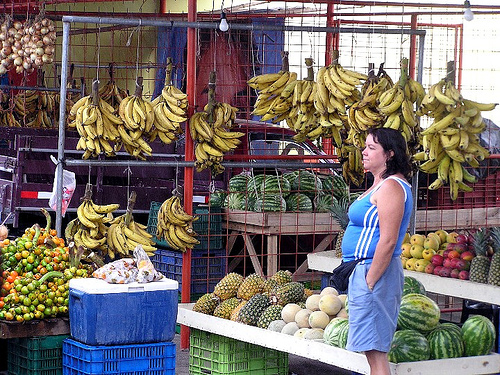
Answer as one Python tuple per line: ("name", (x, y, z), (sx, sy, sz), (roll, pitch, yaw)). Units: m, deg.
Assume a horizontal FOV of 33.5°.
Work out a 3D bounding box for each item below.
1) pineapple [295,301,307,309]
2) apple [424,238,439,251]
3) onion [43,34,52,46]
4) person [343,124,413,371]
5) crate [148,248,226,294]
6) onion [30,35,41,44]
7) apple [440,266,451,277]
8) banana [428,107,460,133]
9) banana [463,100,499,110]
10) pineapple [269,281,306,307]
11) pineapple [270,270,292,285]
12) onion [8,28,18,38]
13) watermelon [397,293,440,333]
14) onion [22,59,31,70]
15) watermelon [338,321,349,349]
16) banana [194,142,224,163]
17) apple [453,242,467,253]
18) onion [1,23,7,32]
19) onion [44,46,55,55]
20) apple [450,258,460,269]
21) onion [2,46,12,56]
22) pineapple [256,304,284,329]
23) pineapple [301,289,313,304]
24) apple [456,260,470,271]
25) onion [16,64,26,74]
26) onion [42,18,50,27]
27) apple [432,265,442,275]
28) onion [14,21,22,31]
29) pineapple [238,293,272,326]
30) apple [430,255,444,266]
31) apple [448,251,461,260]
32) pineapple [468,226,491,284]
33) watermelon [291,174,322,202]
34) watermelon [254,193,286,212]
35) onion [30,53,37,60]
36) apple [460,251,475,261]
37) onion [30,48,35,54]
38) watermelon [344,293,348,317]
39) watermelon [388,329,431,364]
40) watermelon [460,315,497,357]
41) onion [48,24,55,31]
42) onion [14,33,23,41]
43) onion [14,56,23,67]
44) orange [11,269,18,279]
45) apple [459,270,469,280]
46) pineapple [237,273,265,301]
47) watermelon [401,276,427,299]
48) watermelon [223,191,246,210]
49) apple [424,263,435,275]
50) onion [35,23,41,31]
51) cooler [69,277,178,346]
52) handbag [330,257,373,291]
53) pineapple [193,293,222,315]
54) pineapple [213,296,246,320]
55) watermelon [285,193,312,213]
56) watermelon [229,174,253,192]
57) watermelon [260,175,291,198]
("pineapple", (0.488, 1.124, 7.917), (0.139, 0.067, 0.050), (20, 7, 29))
("apple", (1.955, 0.607, 8.898), (0.109, 0.147, 0.138), (-9, -36, 44))
("onion", (-2.625, -1.888, 10.653), (0.073, 0.127, 0.078), (-15, -30, 37))
("person", (1.031, 0.524, 6.780), (0.545, 2.022, 0.354), (2, 2, 13))
("crate", (-0.807, 0.886, 9.993), (0.568, 0.509, 0.630), (1, -4, -26))
("onion", (-2.773, -1.912, 10.665), (0.108, 0.119, 0.079), (2, 2, -8))
("apple", (2.010, 0.859, 8.499), (0.062, 0.110, 0.083), (-4, 42, -2))
("banana", (2.006, -0.690, 8.482), (0.051, 0.245, 0.081), (41, -5, -15))
("banana", (2.398, -0.845, 8.526), (0.476, 0.067, 0.131), (1, 4, -42))
("pineapple", (0.363, 1.038, 8.033), (0.362, 0.200, 0.303), (3, 3, 2))
("pineapple", (0.338, 0.917, 8.326), (0.145, 0.129, 0.082), (-4, 1, -5))
("onion", (-3.122, -2.031, 10.839), (0.073, 0.130, 0.090), (3, 8, 6))
("watermelon", (1.485, 1.093, 7.355), (0.315, 0.341, 0.295), (-2, 26, -14))
("onion", (-2.950, -1.616, 10.842), (0.080, 0.149, 0.070), (-4, 10, -9))
("watermelon", (0.821, 1.319, 7.307), (0.080, 0.215, 0.181), (2, 2, 5))
("banana", (-0.464, -0.363, 8.940), (0.251, 0.226, 0.094), (7, -3, -27))
("apple", (2.206, 0.629, 8.650), (0.097, 0.110, 0.088), (1, 3, 6))
("onion", (-3.238, -2.092, 10.838), (0.065, 0.109, 0.076), (0, 1, -16))
("onion", (-2.617, -1.785, 10.744), (0.070, 0.075, 0.122), (1, 41, -6))
("apple", (2.098, 0.786, 8.439), (0.074, 0.086, 0.068), (0, -1, 0))
("onion", (-3.217, -1.809, 10.884), (0.095, 0.116, 0.063), (29, -7, -1))
("pineapple", (0.182, 1.224, 7.798), (0.247, 0.195, 0.206), (3, 2, 0))
("pineapple", (0.560, 1.070, 8.163), (0.047, 0.138, 0.074), (9, 12, -20))
("apple", (2.161, 0.795, 8.366), (0.090, 0.098, 0.079), (3, -3, -11))
("onion", (-3.071, -1.566, 10.996), (0.078, 0.132, 0.068), (-11, 38, -23))
("onion", (-2.641, -2.129, 10.629), (0.079, 0.063, 0.080), (-20, -15, 39))
("apple", (1.954, 0.860, 8.627), (0.042, 0.092, 0.063), (26, 33, 15))
("onion", (-3.052, -2.117, 10.819), (0.078, 0.135, 0.089), (3, 4, 12))
("pineapple", (0.069, 1.168, 7.909), (0.336, 0.188, 0.159), (-29, 56, -32))
("apple", (1.972, 0.770, 8.694), (0.101, 0.115, 0.097), (-7, 17, 24))
("apple", (2.126, 0.706, 8.575), (0.080, 0.088, 0.071), (-6, 1, 0))
("pineapple", (2.321, 0.726, 8.306), (0.143, 0.550, 0.174), (-8, -25, 27))
("watermelon", (0.735, 0.008, 10.794), (0.306, 0.344, 0.285), (3, -2, -1))
("watermelon", (0.277, 0.201, 10.383), (0.253, 0.223, 0.230), (-2, -9, -4))
("onion", (-2.814, -1.702, 10.688), (0.054, 0.091, 0.045), (2, 26, -5))
("apple", (2.226, 0.704, 8.476), (0.097, 0.114, 0.089), (0, -2, -7))
("onion", (-2.832, -1.770, 10.700), (0.041, 0.066, 0.097), (1, 3, -38))
("watermelon", (0.877, 1.068, 7.531), (0.060, 0.157, 0.103), (0, -17, 4))
("watermelon", (1.363, 1.388, 7.106), (0.239, 0.328, 0.333), (-6, -27, 28))
("watermelon", (2.040, 1.337, 7.389), (0.375, 0.244, 0.263), (2, 2, -8))
("onion", (-2.578, -2.070, 10.668), (0.060, 0.080, 0.080), (-19, 17, -17))
("onion", (-3.048, -1.973, 10.811), (0.073, 0.080, 0.067), (-12, 11, -12))
("onion", (-3.097, -1.674, 10.925), (0.113, 0.130, 0.223), (0, 4, -43))
("orange", (-2.172, 0.800, 7.585), (0.034, 0.065, 0.042), (-7, 11, 2))
("apple", (2.151, 0.886, 8.308), (0.069, 0.078, 0.065), (-2, 10, -16))
("pineapple", (0.025, 0.913, 8.246), (0.291, 0.185, 0.194), (32, 41, -8))
("watermelon", (1.557, 0.942, 7.873), (0.145, 0.216, 0.230), (-2, 1, 2))
("watermelon", (-0.192, 0.174, 10.569), (0.221, 0.212, 0.234), (3, 2, 17))
("apple", (1.894, 0.860, 8.714), (0.066, 0.102, 0.094), (-9, 0, 24))
("onion", (-2.739, -2.075, 10.622), (0.056, 0.097, 0.068), (-2, 6, 2))
("cooler", (-1.125, 1.102, 7.324), (0.950, 0.552, 0.325), (2, 2, -16))
("handbag", (0.833, 0.691, 6.897), (0.352, 0.329, 0.237), (-9, 12, -44))
("pineapple", (-0.436, 1.163, 8.180), (0.208, 0.181, 0.151), (-18, 44, 12))
("pineapple", (-0.206, 1.158, 8.023), (0.265, 0.144, 0.144), (-18, 39, -41))
("watermelon", (0.613, 0.205, 10.425), (0.329, 0.227, 0.407), (3, 3, 4))
("watermelon", (-0.138, -0.045, 10.802), (0.210, 0.239, 0.195), (-3, -4, -6))
("watermelon", (0.334, -0.023, 10.538), (0.299, 0.255, 0.235), (-4, -19, -14))
